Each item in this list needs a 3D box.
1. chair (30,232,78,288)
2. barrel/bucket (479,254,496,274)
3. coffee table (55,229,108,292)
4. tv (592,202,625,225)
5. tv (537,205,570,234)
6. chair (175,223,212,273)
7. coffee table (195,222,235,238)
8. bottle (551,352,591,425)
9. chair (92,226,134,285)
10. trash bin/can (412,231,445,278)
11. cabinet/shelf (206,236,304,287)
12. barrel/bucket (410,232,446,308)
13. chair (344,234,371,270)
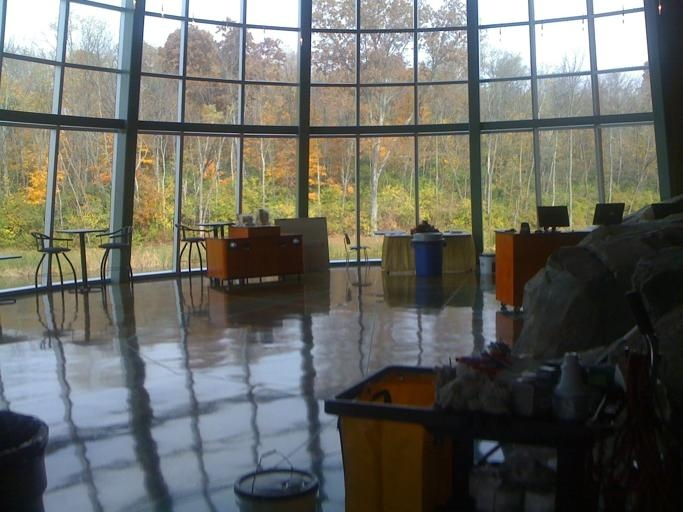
[{"bbox_3d":[-4.944,0.082,10.041,0.586,1.102,0.666,0,3,36],"label":"chair"},{"bbox_3d":[2.607,0.129,10.755,0.289,0.427,0.299,-1,-3,0],"label":"barrel/bucket"},{"bbox_3d":[-4.392,0.023,10.222,0.418,1.030,1.768,-3,4,-22],"label":"coffee table"},{"bbox_3d":[3.497,-0.559,7.724,0.407,0.340,0.327,1,6,5],"label":"tv"},{"bbox_3d":[2.812,-0.497,7.854,0.368,0.315,0.116,-1,-2,-4],"label":"tv"},{"bbox_3d":[-3.074,-0.137,12.071,0.462,0.927,0.481,1,2,-29],"label":"chair"},{"bbox_3d":[-2.467,-0.557,11.483,0.469,0.354,0.521,-3,6,-22],"label":"coffee table"},{"bbox_3d":[1.140,0.659,2.900,0.199,0.370,0.222,-1,-9,10],"label":"bottle"},{"bbox_3d":[-4.097,0.012,10.683,0.612,1.045,0.682,1,6,8],"label":"chair"},{"bbox_3d":[1.730,-0.053,11.530,0.698,0.880,0.682,-6,3,-45],"label":"trash bin/can"},{"bbox_3d":[-1.468,-0.005,10.550,1.512,0.711,0.610,-3,3,-7],"label":"cabinet/shelf"},{"bbox_3d":[1.716,0.070,11.469,0.563,1.220,0.651,-2,14,-14],"label":"barrel/bucket"},{"bbox_3d":[0.350,-0.101,13.231,0.605,1.040,0.654,-1,1,4],"label":"chair"}]
